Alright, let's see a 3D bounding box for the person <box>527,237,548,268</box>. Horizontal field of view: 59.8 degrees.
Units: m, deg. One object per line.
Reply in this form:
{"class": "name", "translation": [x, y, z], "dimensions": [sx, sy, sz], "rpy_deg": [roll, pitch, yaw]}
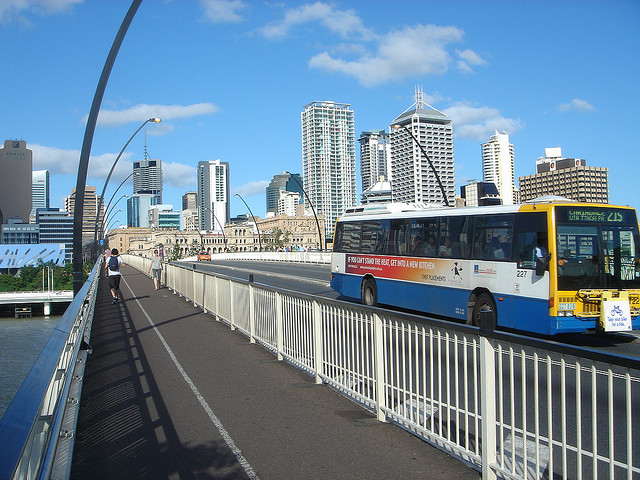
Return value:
{"class": "person", "translation": [4.795, 0.278, 12.160], "dimensions": [0.483, 0.904, 0.458], "rpy_deg": [1, -7, 8]}

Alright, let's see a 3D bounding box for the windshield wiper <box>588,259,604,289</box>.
{"class": "windshield wiper", "translation": [5.864, 0.766, 11.837], "dimensions": [0.077, 0.612, 0.067], "rpy_deg": [18, -3, -16]}

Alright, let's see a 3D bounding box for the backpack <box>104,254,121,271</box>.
{"class": "backpack", "translation": [-7.481, 0.855, 20.167], "dimensions": [0.361, 0.543, 0.538], "rpy_deg": [6, -4, -23]}
